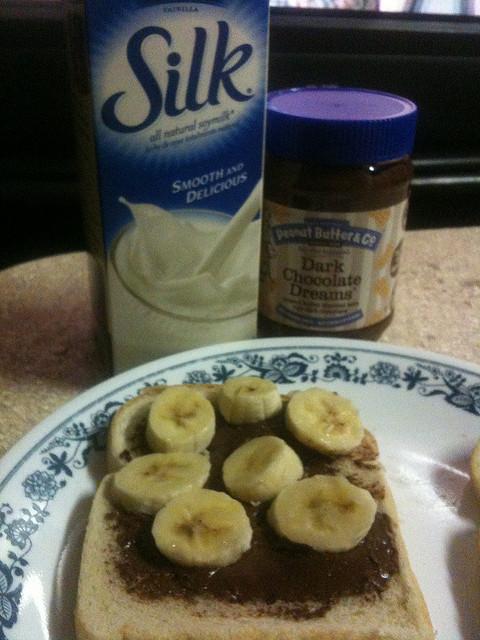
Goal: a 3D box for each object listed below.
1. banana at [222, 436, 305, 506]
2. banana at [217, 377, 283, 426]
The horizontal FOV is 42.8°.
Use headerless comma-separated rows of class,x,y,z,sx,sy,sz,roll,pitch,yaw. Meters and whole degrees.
banana,0.021,0.179,0.735,0.093,0.034,0.093,-16,20,30
banana,0.012,0.106,0.839,0.090,0.041,0.097,8,21,25
